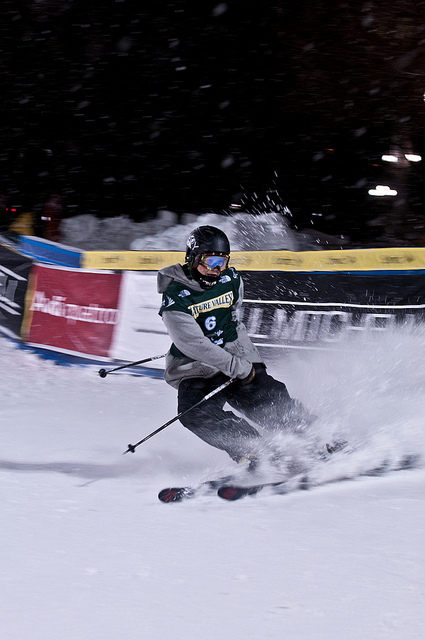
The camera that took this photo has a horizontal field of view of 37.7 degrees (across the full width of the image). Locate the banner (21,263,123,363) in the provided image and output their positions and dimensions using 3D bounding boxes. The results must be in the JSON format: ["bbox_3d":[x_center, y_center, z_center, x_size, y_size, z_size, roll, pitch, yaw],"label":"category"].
[{"bbox_3d":[-1.217,-0.089,5.539,1.300,0.782,0.118,9,3,33],"label":"banner"}]

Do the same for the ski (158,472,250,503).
[{"bbox_3d":[-0.071,0.788,2.918,0.332,0.072,0.094,-7,14,-35],"label":"ski"}]

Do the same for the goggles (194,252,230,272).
[{"bbox_3d":[0.010,-0.294,3.143,0.109,0.063,0.124,3,5,-23],"label":"goggles"}]

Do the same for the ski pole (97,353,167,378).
[{"bbox_3d":[-0.615,0.362,4.948,0.598,0.076,0.084,-19,39,-23],"label":"ski pole"}]
